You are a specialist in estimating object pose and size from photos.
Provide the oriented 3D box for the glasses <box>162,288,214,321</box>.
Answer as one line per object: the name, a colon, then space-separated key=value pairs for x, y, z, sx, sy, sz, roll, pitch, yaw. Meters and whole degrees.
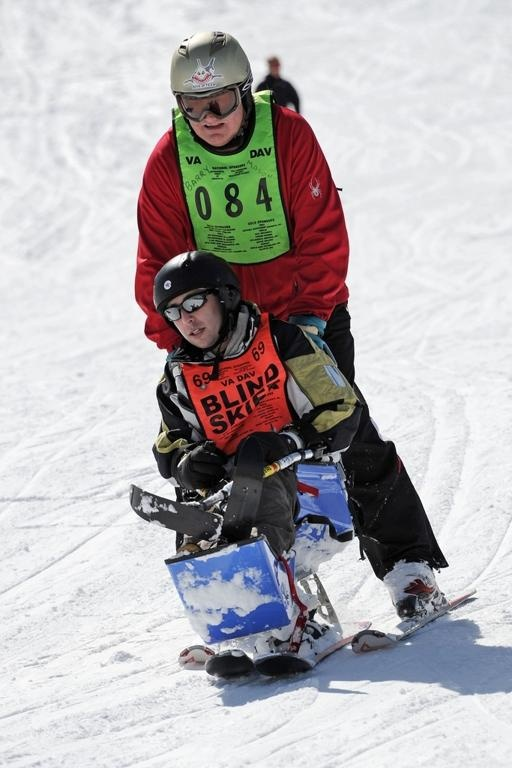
glasses: x=-0.247 y=-0.280 z=3.001 sx=0.192 sy=0.109 sz=0.072 roll=-10 pitch=-2 yaw=2

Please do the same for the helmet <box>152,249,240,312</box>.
helmet: x=-0.222 y=-0.362 z=3.106 sx=0.220 sy=0.276 sz=0.205 roll=-24 pitch=53 yaw=21

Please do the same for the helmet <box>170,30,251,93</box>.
helmet: x=-0.176 y=-1.213 z=3.281 sx=0.269 sy=0.239 sz=0.329 roll=-5 pitch=-4 yaw=13

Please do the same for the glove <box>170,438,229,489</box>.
glove: x=-0.200 y=0.275 z=2.925 sx=0.148 sy=0.074 sz=0.186 roll=-13 pitch=14 yaw=24
